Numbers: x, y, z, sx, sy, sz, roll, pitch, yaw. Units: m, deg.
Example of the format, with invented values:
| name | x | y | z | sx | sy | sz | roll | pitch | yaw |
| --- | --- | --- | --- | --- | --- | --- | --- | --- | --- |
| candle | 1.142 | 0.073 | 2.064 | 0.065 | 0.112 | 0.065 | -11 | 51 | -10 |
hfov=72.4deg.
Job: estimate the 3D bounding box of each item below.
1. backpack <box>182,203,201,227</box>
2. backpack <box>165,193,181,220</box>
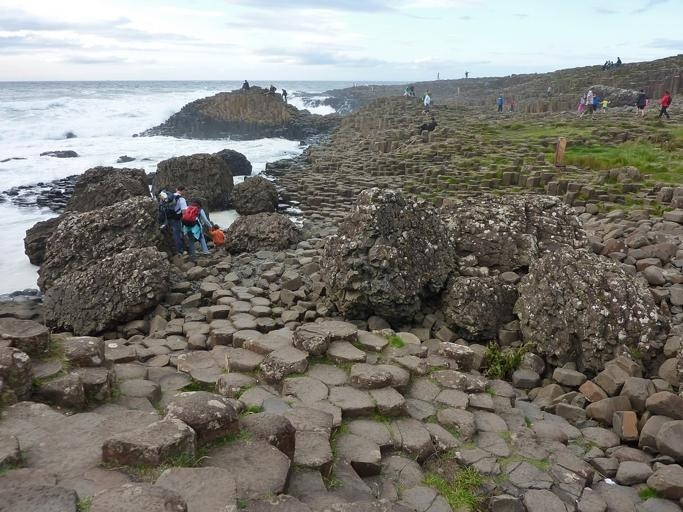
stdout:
| name | x | y | z | sx | sy | sz | roll | pitch | yaw |
| --- | --- | --- | --- | --- | --- | --- | --- | --- | --- |
| backpack | -3.600 | -0.979 | 11.218 | 0.371 | 0.452 | 0.482 | 9 | 22 | 18 |
| backpack | -4.041 | -1.209 | 11.183 | 0.342 | 0.525 | 0.476 | -12 | 31 | -33 |
